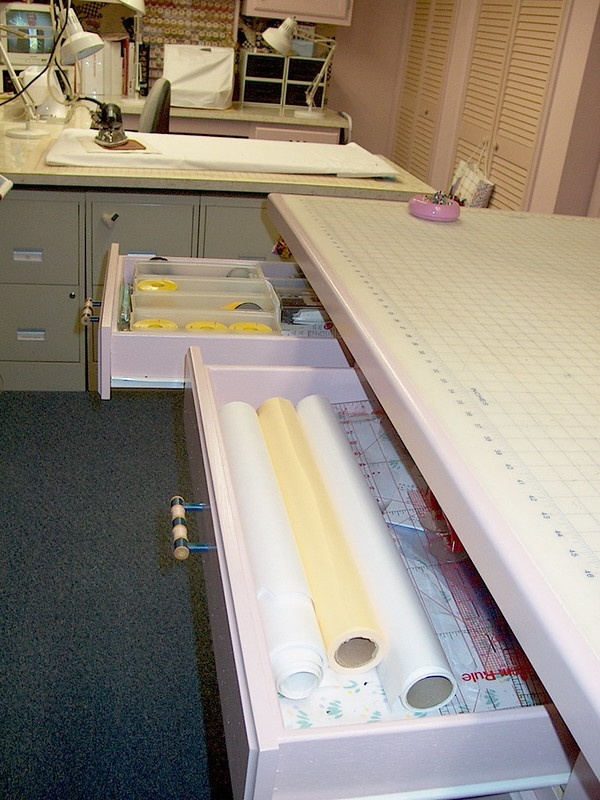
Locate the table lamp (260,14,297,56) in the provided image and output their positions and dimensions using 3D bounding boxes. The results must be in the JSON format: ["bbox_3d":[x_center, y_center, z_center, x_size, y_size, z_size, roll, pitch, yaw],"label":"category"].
[{"bbox_3d":[-0.121,-2.196,3.296,0.160,0.189,0.257,12,32,3],"label":"table lamp"}]

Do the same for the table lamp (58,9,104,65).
[{"bbox_3d":[-0.822,-1.348,2.045,0.139,0.176,0.227,-6,35,-24],"label":"table lamp"}]
